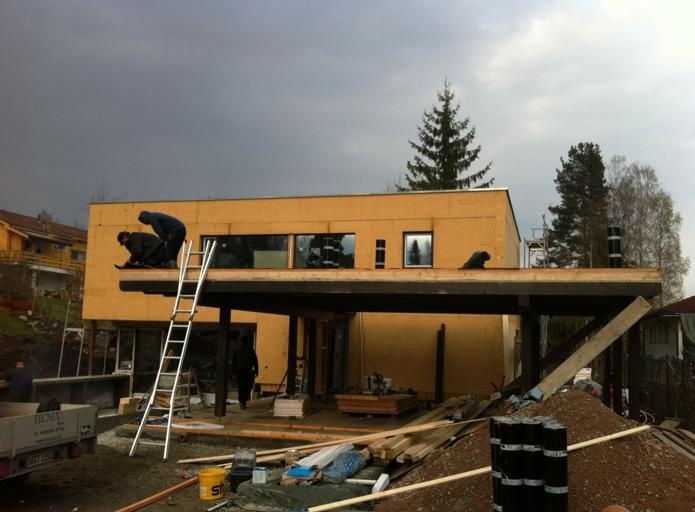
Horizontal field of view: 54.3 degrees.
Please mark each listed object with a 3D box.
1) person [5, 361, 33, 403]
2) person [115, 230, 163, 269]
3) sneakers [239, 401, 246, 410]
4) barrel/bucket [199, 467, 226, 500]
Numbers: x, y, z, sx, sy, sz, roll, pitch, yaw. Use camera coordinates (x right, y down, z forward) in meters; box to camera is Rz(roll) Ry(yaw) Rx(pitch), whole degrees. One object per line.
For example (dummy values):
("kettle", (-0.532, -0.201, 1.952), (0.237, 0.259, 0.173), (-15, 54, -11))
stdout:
("person", (-7.280, 2.787, 15.148), (0.559, 1.024, 2.125), (7, -16, -24))
("person", (-4.931, -0.166, 16.228), (1.197, 1.019, 0.915), (-8, 0, 4))
("sneakers", (-2.832, 4.082, 18.499), (0.135, 0.273, 0.140), (-2, -11, -4))
("barrel/bucket", (-2.455, 4.136, 12.336), (0.497, 0.506, 0.542), (1, -3, 0))
